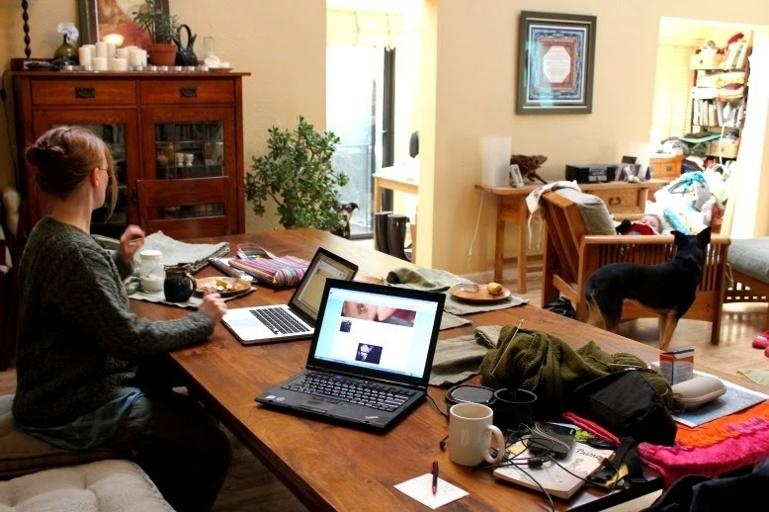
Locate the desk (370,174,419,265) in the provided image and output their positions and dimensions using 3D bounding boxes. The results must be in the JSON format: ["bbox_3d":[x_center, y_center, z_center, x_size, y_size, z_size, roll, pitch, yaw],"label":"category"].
[{"bbox_3d":[0.162,-0.557,6.523,0.636,0.723,0.812,13,14,7],"label":"desk"}]

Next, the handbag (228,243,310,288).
[{"bbox_3d":[-0.608,0.056,2.890,0.311,0.094,0.252,24,24,40],"label":"handbag"}]

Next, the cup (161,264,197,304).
[{"bbox_3d":[-0.913,0.132,2.522,0.183,0.158,0.109,8,17,31],"label":"cup"}]

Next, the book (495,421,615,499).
[{"bbox_3d":[0.468,0.567,1.534,0.251,0.072,0.241,7,14,33],"label":"book"}]

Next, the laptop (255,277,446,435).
[{"bbox_3d":[-0.123,0.310,1.841,0.506,0.299,0.471,6,16,34],"label":"laptop"}]

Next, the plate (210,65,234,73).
[{"bbox_3d":[-1.262,-1.421,4.268,0.118,0.021,0.107,0,9,2],"label":"plate"}]

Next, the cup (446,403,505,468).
[{"bbox_3d":[0.267,0.509,1.562,0.127,0.130,0.205,-1,5,-33],"label":"cup"}]

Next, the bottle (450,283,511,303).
[{"bbox_3d":[0.438,0.172,2.576,0.154,0.019,0.144,1,15,0],"label":"bottle"}]

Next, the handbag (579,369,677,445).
[{"bbox_3d":[0.739,0.431,1.674,0.244,0.087,0.191,-7,19,-31],"label":"handbag"}]

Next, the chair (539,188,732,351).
[{"bbox_3d":[1.935,0.001,4.851,1.585,1.229,1.179,-6,16,-12],"label":"chair"}]

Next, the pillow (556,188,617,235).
[{"bbox_3d":[1.597,-0.350,4.463,0.180,0.176,0.544,-19,13,2],"label":"pillow"}]

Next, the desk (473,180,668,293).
[{"bbox_3d":[1.822,-0.225,5.751,1.530,0.818,0.884,2,7,-10],"label":"desk"}]

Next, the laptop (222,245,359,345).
[{"bbox_3d":[-0.401,0.184,2.368,0.468,0.270,0.430,0,16,-30],"label":"laptop"}]

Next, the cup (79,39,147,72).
[{"bbox_3d":[-1.956,-1.431,4.019,0.463,0.242,0.300,-6,13,-22],"label":"cup"}]

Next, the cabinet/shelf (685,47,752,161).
[{"bbox_3d":[4.897,-2.111,7.879,0.561,1.558,0.925,-27,33,-27],"label":"cabinet/shelf"}]

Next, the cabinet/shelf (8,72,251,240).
[{"bbox_3d":[-1.790,-0.593,4.439,1.787,1.622,0.705,-1,4,9],"label":"cabinet/shelf"}]

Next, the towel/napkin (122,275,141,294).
[{"bbox_3d":[-1.207,0.135,2.658,0.088,0.039,0.112,-3,15,-16],"label":"towel/napkin"}]
